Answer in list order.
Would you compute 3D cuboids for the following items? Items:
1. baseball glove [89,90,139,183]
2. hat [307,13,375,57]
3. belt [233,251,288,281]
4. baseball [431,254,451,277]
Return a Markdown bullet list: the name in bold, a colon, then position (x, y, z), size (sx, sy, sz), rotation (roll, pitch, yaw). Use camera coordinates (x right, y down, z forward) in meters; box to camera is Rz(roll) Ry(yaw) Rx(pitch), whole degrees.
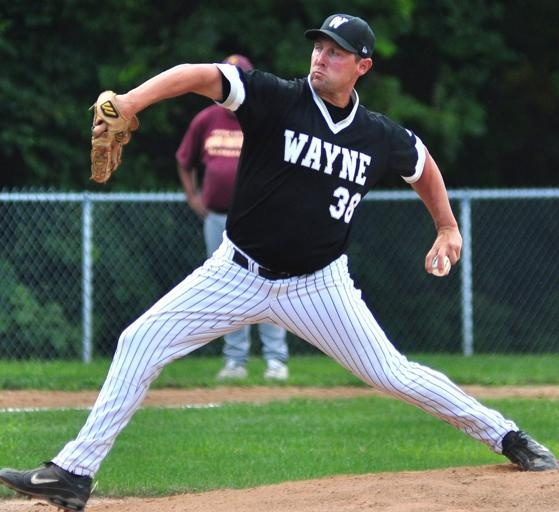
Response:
- **baseball glove**: position (-0.948, -0.664, 6.357), size (0.290, 0.486, 0.122), rotation (-11, 28, -36)
- **hat**: position (0.382, -1.314, 6.821), size (0.344, 0.190, 0.253), rotation (24, 3, -42)
- **belt**: position (-0.128, 0.077, 6.730), size (0.226, 0.060, 0.175), rotation (29, -5, -16)
- **baseball**: position (1.035, 0.065, 7.166), size (0.107, 0.130, 0.048), rotation (0, 9, -10)
